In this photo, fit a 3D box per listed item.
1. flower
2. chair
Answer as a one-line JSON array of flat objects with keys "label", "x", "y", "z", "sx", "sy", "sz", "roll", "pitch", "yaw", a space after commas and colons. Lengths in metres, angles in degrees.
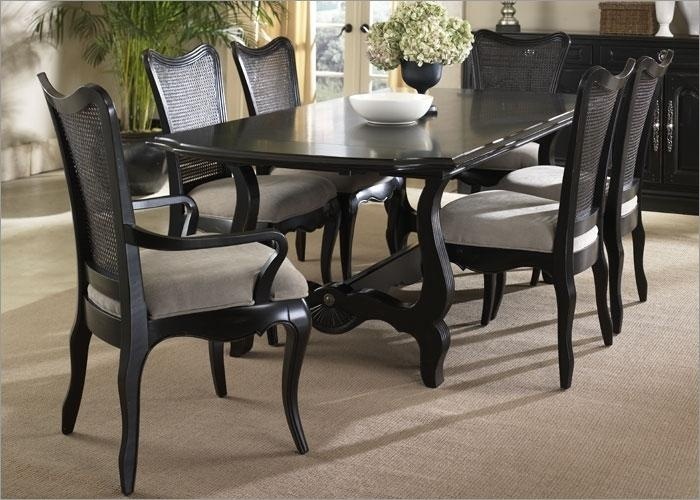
[{"label": "flower", "x": 0.347, "y": -1.047, "z": 2.963, "sx": 0.351, "sy": 0.290, "sz": 0.420, "roll": -5, "pitch": 8, "yaw": -3}, {"label": "chair", "x": 0.309, "y": -0.163, "z": 2.504, "sx": 2.111, "sy": 1.200, "sz": 1.294, "roll": -9, "pitch": 19, "yaw": -17}]
